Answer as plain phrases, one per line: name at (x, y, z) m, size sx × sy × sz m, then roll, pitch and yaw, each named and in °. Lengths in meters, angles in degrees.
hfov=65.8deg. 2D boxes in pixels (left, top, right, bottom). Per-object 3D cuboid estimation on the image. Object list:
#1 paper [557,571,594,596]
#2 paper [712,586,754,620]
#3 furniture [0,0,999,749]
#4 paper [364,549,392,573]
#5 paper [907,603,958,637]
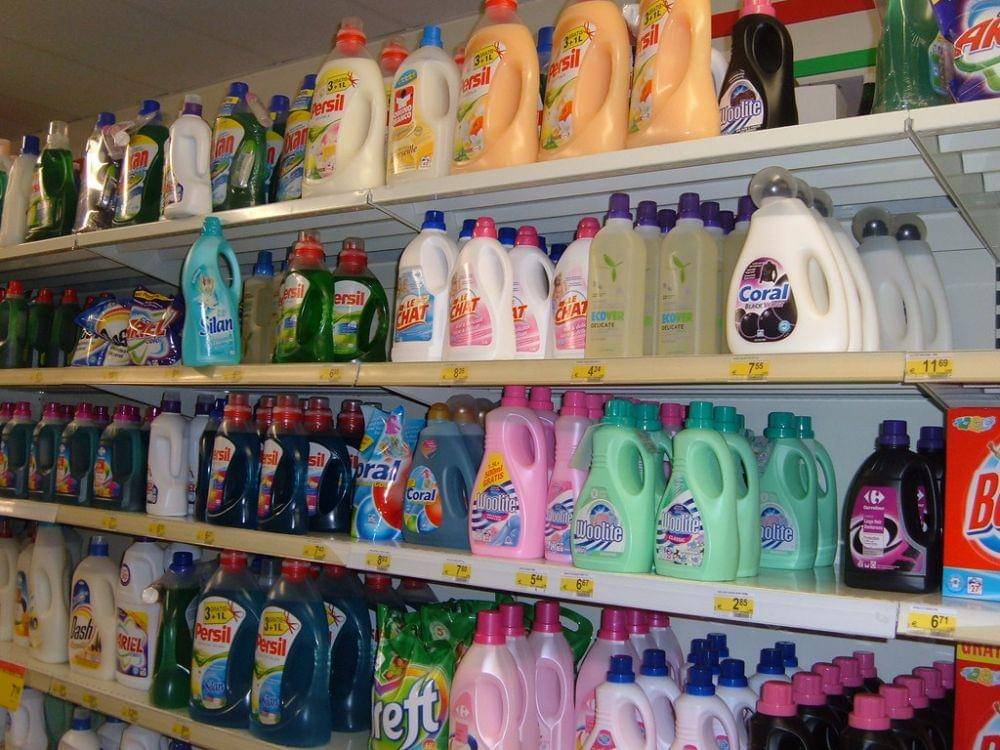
paper at (0.192, 0.522, 1.945) m, size 0.055 × 0.056 × 0.013 m, roll -2°, pitch -13°, yaw 27°
paper at (0.536, 0.522, 1.780) m, size 0.078 × 0.064 × 0.051 m, roll -9°, pitch -26°, yaw 36°
furniture at (0.003, 0.044, 2.284) m, size 2.870 × 1.236 × 0.556 m, roll -2°, pitch -7°, yaw 35°
paper at (-0.353, 0.534, 2.247) m, size 0.086 × 0.065 × 0.048 m, roll -4°, pitch -10°, yaw 39°
paper at (0.899, 0.511, 1.611) m, size 0.060 × 0.061 × 0.015 m, roll -8°, pitch -41°, yaw 34°
